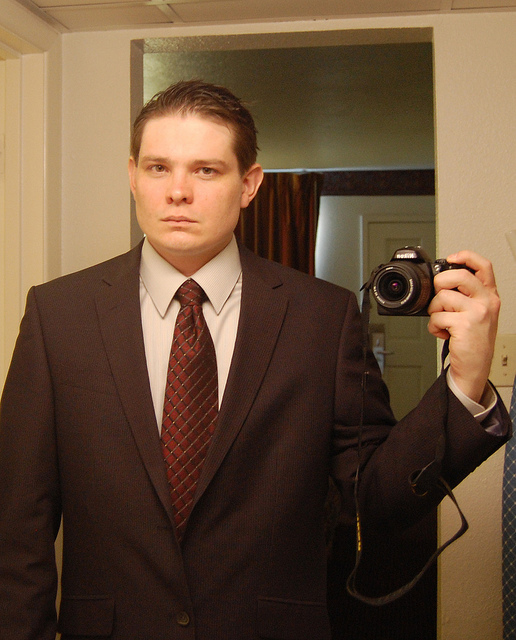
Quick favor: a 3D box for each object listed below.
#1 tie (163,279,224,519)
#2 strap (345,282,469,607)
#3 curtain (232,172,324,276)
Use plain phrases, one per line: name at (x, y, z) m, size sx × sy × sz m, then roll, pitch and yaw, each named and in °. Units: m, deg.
tie at (-0.109, 0.121, 1.027) m, size 0.088 × 0.374 × 0.150 m, roll 1°, pitch 4°, yaw 0°
strap at (0.247, 0.203, 0.971) m, size 0.165 × 0.477 × 0.047 m, roll -1°, pitch 11°, yaw 18°
curtain at (0.127, -0.649, 3.998) m, size 0.530 × 0.688 × 0.385 m, roll 1°, pitch 4°, yaw 4°
